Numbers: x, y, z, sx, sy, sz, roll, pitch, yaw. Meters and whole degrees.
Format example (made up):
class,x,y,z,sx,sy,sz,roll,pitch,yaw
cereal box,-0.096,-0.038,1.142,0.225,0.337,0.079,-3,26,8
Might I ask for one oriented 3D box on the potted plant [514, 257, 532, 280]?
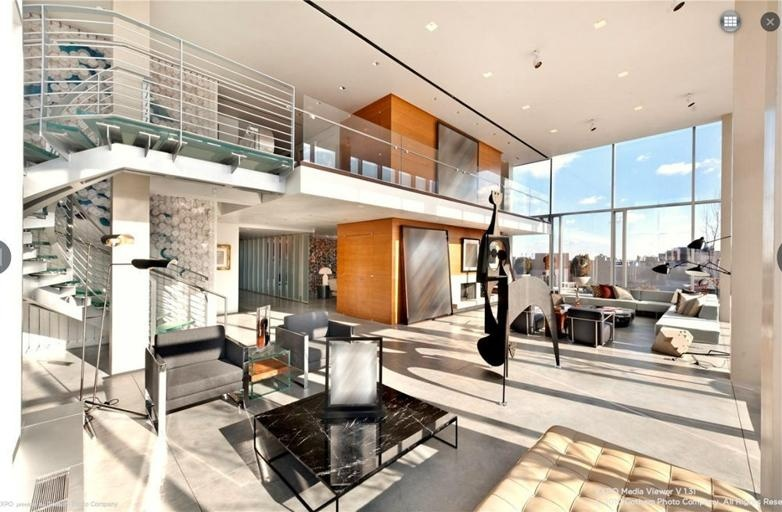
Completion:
class,x,y,z,sx,sy,sz,roll,pitch,yaw
potted plant,4.917,0.318,19.105,0.296,0.601,0.812,-1,1,-34

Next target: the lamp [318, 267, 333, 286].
class,x,y,z,sx,sy,sz,roll,pitch,yaw
lamp,-2.369,0.724,18.719,0.675,0.724,0.643,0,0,8

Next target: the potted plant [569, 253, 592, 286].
class,x,y,z,sx,sy,sz,roll,pitch,yaw
potted plant,6.332,0.440,17.039,0.696,1.047,1.453,0,1,17

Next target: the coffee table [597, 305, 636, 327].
class,x,y,z,sx,sy,sz,roll,pitch,yaw
coffee table,5.781,1.472,12.925,0.973,0.289,0.927,-1,1,-33

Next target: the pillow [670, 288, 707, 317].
class,x,y,z,sx,sy,sz,roll,pitch,yaw
pillow,7.407,1.165,12.729,0.254,0.662,0.766,18,16,25

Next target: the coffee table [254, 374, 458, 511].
class,x,y,z,sx,sy,sz,roll,pitch,yaw
coffee table,-0.847,2.323,7.624,2.258,0.484,1.855,-6,10,-40

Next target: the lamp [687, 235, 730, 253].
class,x,y,z,sx,sy,sz,roll,pitch,yaw
lamp,8.174,-0.338,13.088,0.373,0.463,0.993,-31,23,-35

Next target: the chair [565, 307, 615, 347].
class,x,y,z,sx,sy,sz,roll,pitch,yaw
chair,4.496,1.544,11.773,0.918,0.892,0.970,1,0,43

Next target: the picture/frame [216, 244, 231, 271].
class,x,y,z,sx,sy,sz,roll,pitch,yaw
picture/frame,-4.752,0.024,14.405,0.084,0.763,0.803,-2,-3,36

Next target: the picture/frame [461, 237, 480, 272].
class,x,y,z,sx,sy,sz,roll,pitch,yaw
picture/frame,2.249,-0.043,14.726,0.089,1.177,1.098,-1,-3,34
